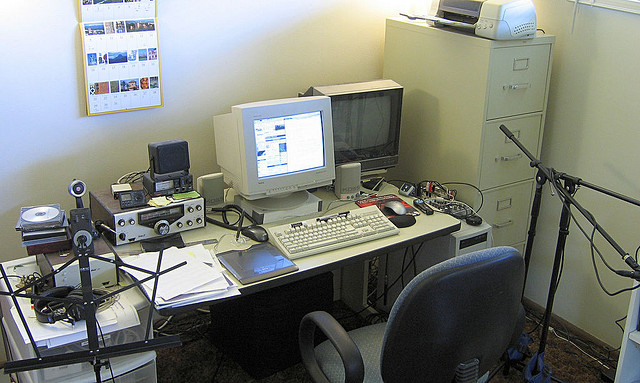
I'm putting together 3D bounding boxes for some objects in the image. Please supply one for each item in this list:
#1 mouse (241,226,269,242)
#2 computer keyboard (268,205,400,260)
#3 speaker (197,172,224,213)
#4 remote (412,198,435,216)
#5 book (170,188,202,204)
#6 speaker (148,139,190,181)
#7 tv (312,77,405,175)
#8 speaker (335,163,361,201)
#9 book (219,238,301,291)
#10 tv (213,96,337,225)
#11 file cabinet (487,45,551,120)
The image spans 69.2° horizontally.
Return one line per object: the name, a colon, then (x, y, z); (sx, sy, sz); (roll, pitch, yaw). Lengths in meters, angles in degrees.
mouse: (-0.371, 0.240, 2.776); (0.123, 0.038, 0.079); (18, 34, 18)
computer keyboard: (0.090, 0.237, 2.825); (0.767, 0.122, 0.237); (-11, 24, -17)
speaker: (-0.693, 0.004, 3.013); (0.168, 0.214, 0.170); (-10, 24, -14)
remote: (0.701, 0.094, 3.103); (0.072, 0.028, 0.125); (-13, 38, -33)
book: (-0.817, 0.025, 2.779); (0.106, 0.026, 0.111); (-13, 33, -24)
speaker: (-0.912, -0.220, 2.876); (0.317, 0.290, 0.223); (-11, 22, -22)
tv: (0.263, -0.448, 3.177); (0.604, 0.638, 0.353); (-12, 22, -20)
speaker: (0.258, -0.081, 3.207); (0.177, 0.248, 0.182); (-14, -11, 44)
book: (-0.341, 0.399, 2.622); (0.345, 0.104, 0.313); (-15, 25, -27)
tv: (-0.300, -0.254, 3.139); (0.734, 0.693, 0.610); (-9, 19, -25)
file cabinet: (1.267, -0.776, 3.297); (0.606, 0.514, 0.482); (-12, 20, -28)
